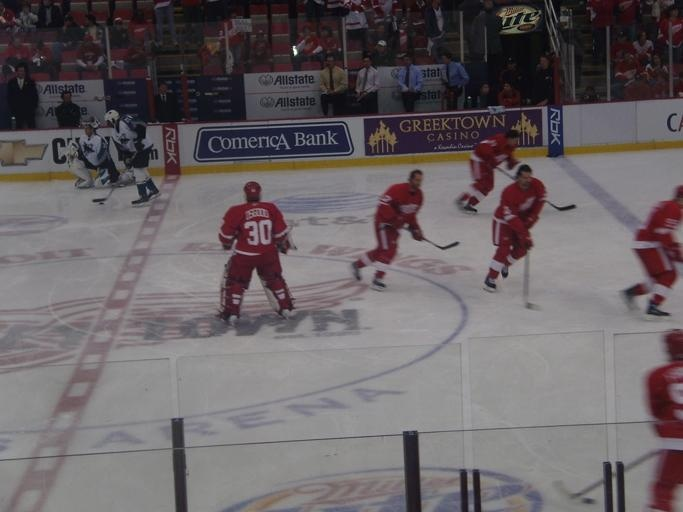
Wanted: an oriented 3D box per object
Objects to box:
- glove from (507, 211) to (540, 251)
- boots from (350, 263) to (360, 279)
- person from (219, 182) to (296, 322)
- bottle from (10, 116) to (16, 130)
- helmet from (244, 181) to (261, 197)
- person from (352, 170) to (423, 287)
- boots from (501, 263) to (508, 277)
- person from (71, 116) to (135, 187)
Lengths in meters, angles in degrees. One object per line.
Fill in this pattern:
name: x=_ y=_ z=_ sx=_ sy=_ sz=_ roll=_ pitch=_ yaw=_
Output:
glove: x=2.076 y=-0.284 z=12.059 sx=0.168 sy=0.393 sz=0.442 roll=10 pitch=15 yaw=39
boots: x=0.168 y=0.191 z=12.726 sx=0.102 sy=0.213 sz=0.083 roll=-16 pitch=9 yaw=18
person: x=-1.005 y=-0.049 z=11.447 sx=0.883 sy=1.576 sz=0.345 roll=-5 pitch=16 yaw=-5
bottle: x=-6.619 y=-2.717 z=20.587 sx=0.108 sy=0.258 sz=0.414 roll=-8 pitch=15 yaw=-16
helmet: x=-0.998 y=-0.751 z=11.333 sx=0.152 sy=0.102 sz=0.211 roll=0 pitch=19 yaw=-6
person: x=0.548 y=-0.348 z=12.511 sx=0.890 sy=1.472 sz=0.438 roll=-3 pitch=16 yaw=3
boots: x=2.014 y=0.166 z=12.656 sx=0.074 sy=0.194 sz=0.081 roll=-1 pitch=-23 yaw=11
person: x=-4.607 y=-1.878 z=18.845 sx=0.851 sy=1.179 sz=1.177 roll=-10 pitch=-4 yaw=30
